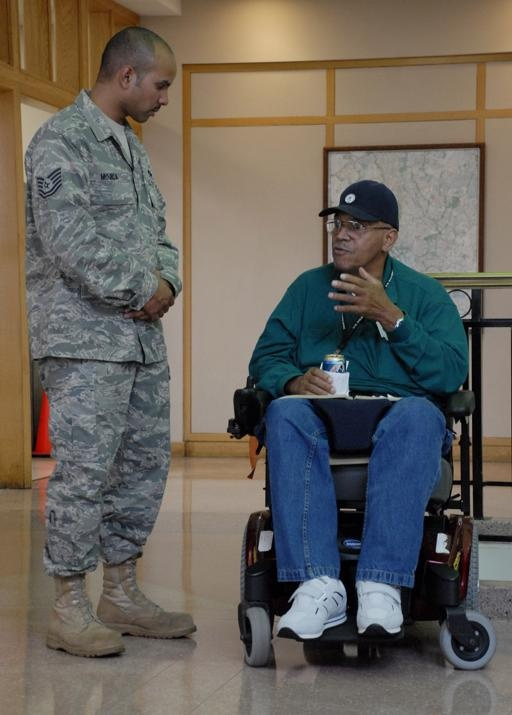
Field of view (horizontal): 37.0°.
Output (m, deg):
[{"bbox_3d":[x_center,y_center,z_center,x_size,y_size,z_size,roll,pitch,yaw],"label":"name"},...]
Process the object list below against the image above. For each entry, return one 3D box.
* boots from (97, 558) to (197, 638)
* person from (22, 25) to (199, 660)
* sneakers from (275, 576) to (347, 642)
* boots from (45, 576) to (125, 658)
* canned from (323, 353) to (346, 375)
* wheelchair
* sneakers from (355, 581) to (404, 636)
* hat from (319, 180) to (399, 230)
[{"bbox_3d":[-0.232,0.640,2.030,0.326,0.233,0.129,2,-3,2],"label":"boots"},{"bbox_3d":[-0.358,-0.046,1.902,0.361,1.518,0.479,-1,-4,23],"label":"person"},{"bbox_3d":[0.122,0.519,1.580,0.074,0.079,0.189,-5,-5,28],"label":"sneakers"},{"bbox_3d":[-0.399,0.609,1.816,0.197,0.175,0.093,-2,-4,41],"label":"boots"},{"bbox_3d":[0.190,0.017,1.876,0.051,0.044,0.048,3,-5,-5],"label":"canned"},{"bbox_3d":[0.245,0.394,1.798,0.612,0.636,0.475,1,-3,-5],"label":"wheelchair"},{"bbox_3d":[0.257,0.525,1.601,0.094,0.095,0.153,0,-3,9],"label":"sneakers"},{"bbox_3d":[0.302,-0.415,2.100,0.199,0.104,0.126,16,2,-31],"label":"hat"}]
